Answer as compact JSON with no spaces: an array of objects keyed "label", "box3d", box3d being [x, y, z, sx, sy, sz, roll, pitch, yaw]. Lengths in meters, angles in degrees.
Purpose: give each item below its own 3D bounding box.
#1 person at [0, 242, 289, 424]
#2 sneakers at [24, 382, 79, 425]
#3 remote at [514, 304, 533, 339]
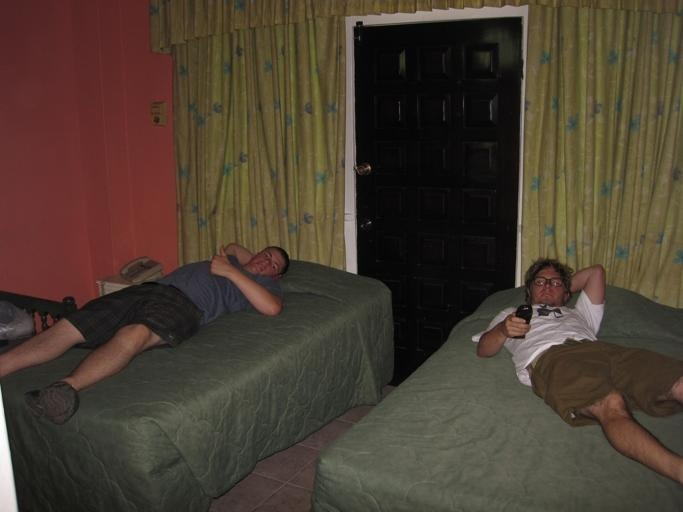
[{"label":"person","box3d":[-0.992,0.313,2.876,0.579,0.345,1.294,13,19,29]},{"label":"sneakers","box3d":[-1.193,0.621,2.284,0.189,0.167,0.109,-11,17,-33]},{"label":"remote","box3d":[0.883,0.312,2.682,0.082,0.161,0.038,6,27,12]}]
